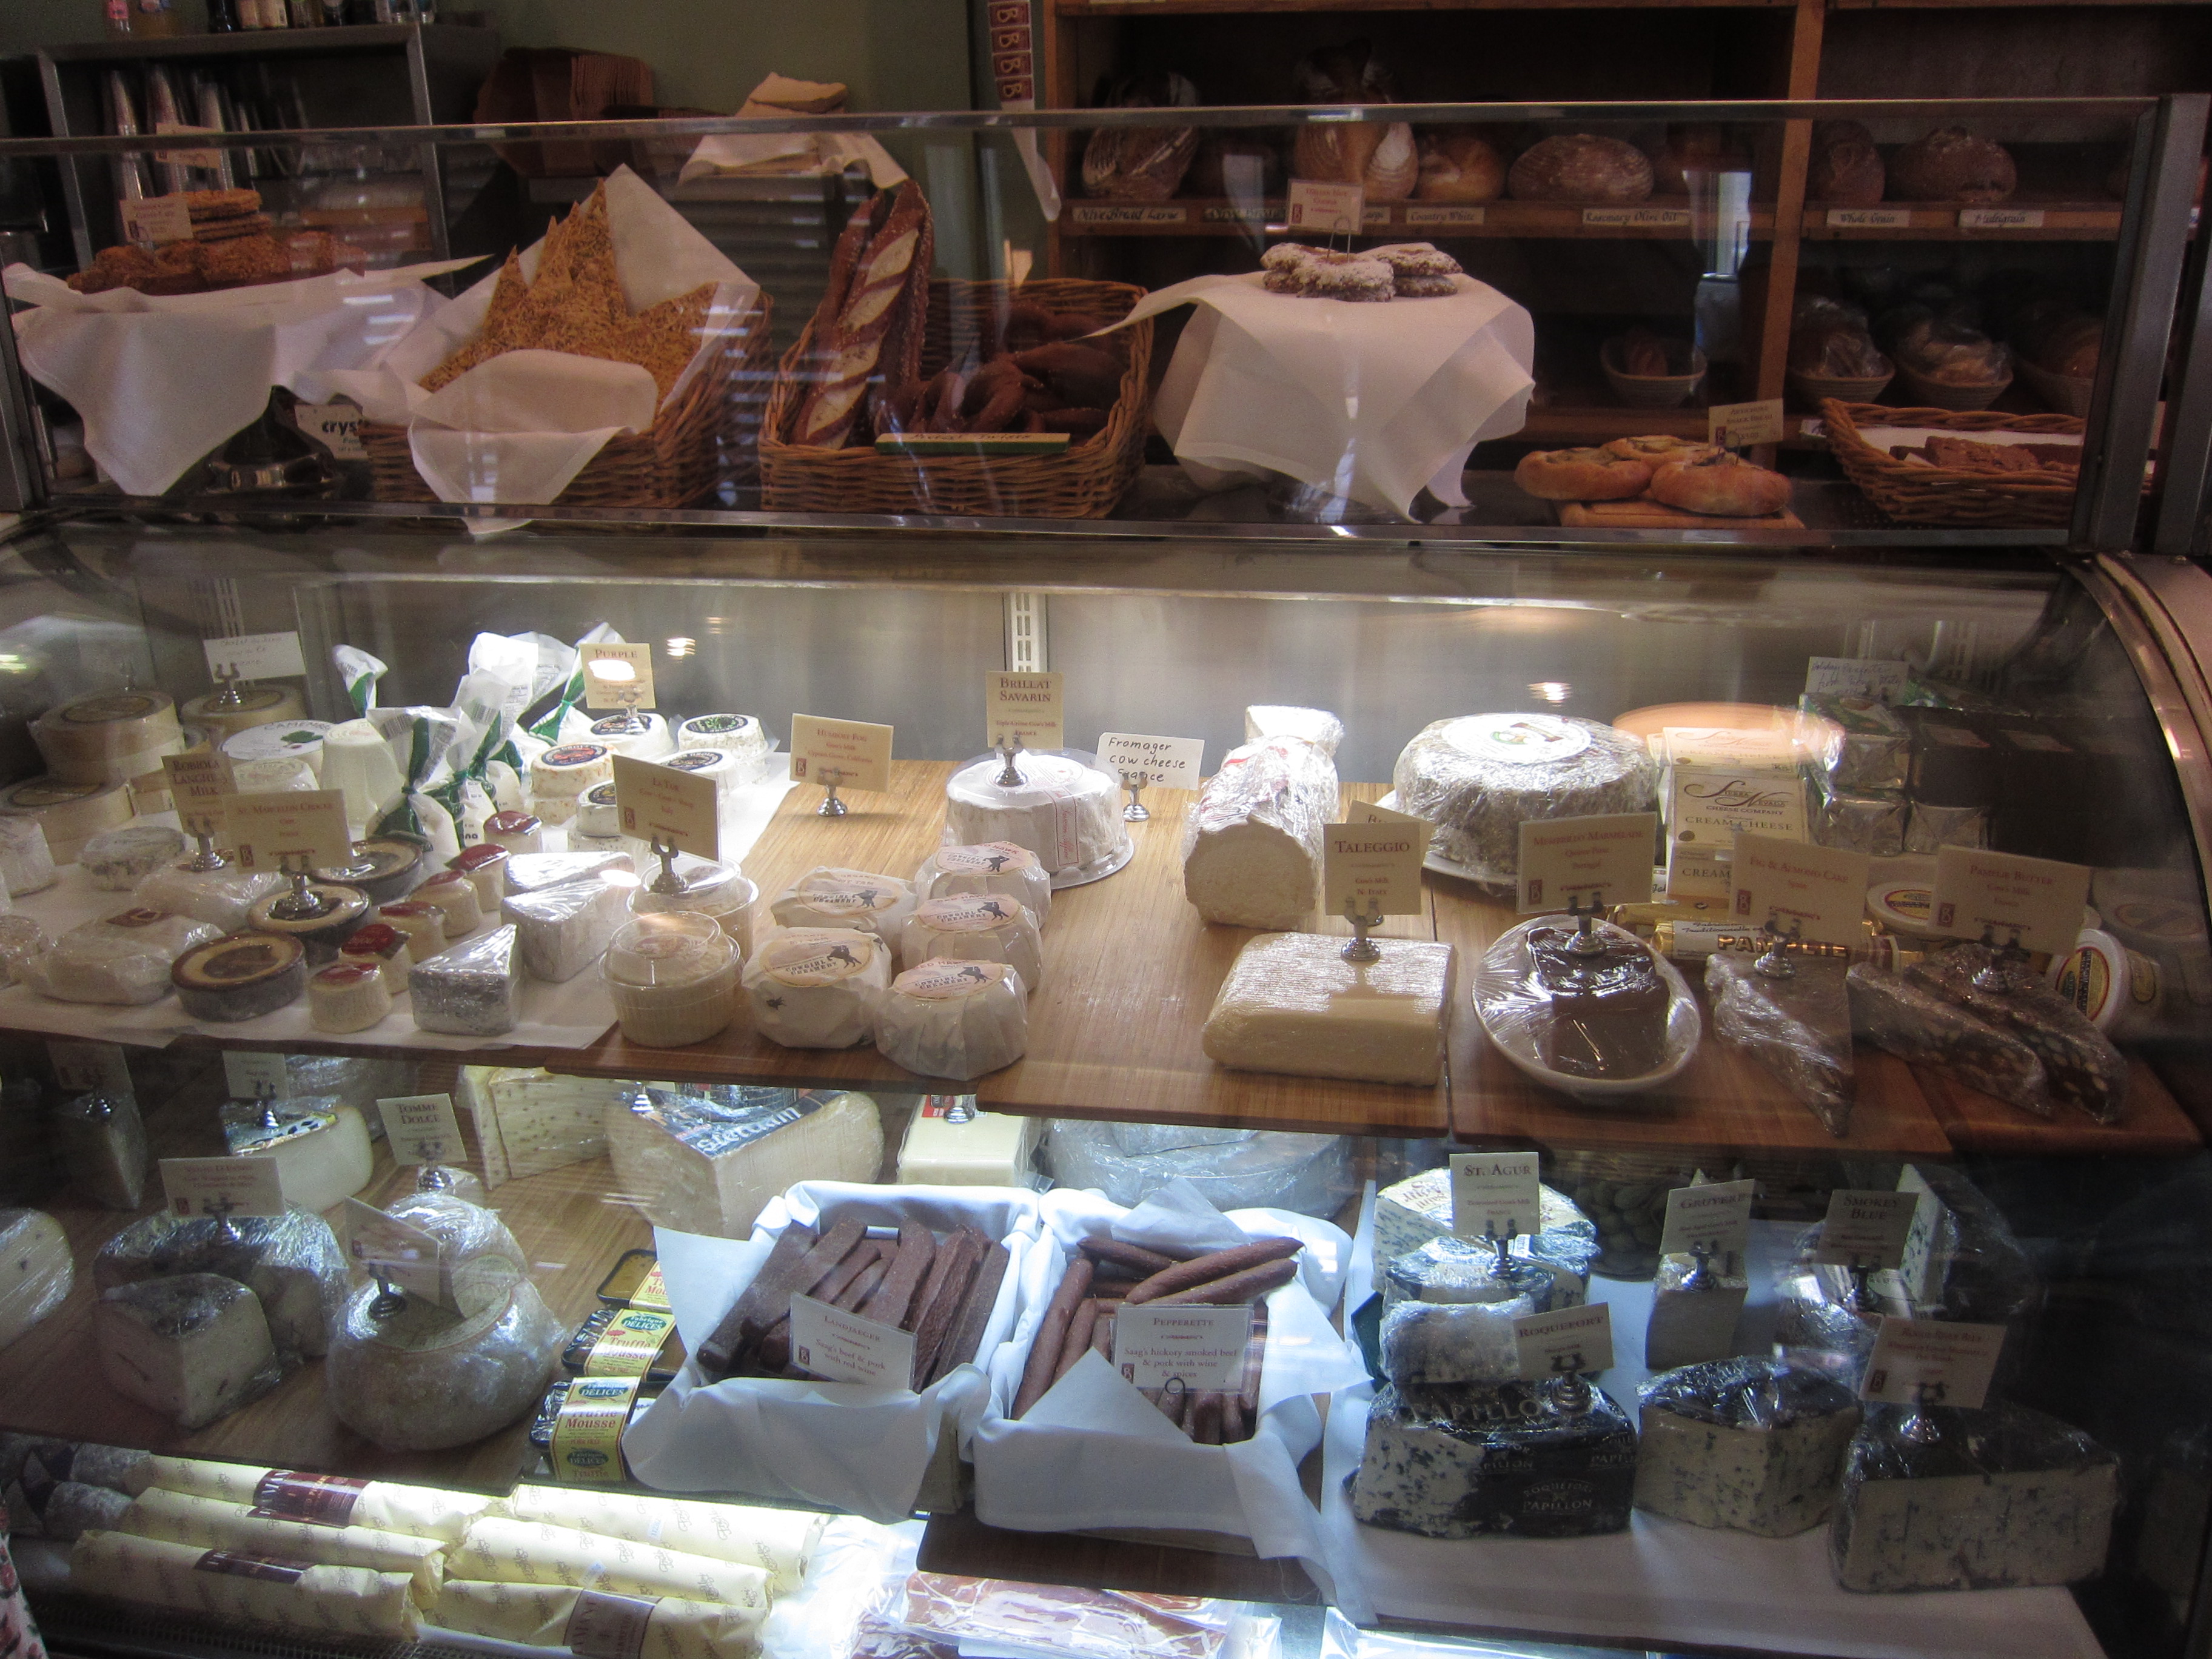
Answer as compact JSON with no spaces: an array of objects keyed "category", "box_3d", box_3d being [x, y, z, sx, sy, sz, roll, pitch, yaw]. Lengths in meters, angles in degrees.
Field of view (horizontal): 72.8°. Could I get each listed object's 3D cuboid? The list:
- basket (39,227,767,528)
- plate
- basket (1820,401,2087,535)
[{"category":"basket","box_3d":[-0.841,-0.572,1.869,0.699,0.239,0.438,4,29,12]},{"category":"plate","box_3d":[0.540,0.203,1.729,0.203,0.100,0.225,0,27,-1]},{"category":"basket","box_3d":[0.926,-0.401,1.671,0.232,0.085,0.135,2,47,5]}]
